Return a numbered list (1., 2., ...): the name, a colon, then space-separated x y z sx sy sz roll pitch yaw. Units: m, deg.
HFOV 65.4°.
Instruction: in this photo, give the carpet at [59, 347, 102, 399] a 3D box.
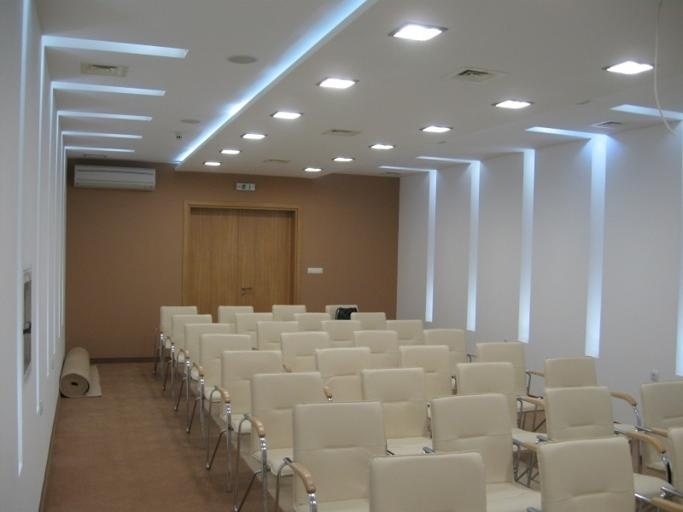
1. carpet: -3.742 1.846 7.607 0.473 0.282 0.919 9 4 -17
